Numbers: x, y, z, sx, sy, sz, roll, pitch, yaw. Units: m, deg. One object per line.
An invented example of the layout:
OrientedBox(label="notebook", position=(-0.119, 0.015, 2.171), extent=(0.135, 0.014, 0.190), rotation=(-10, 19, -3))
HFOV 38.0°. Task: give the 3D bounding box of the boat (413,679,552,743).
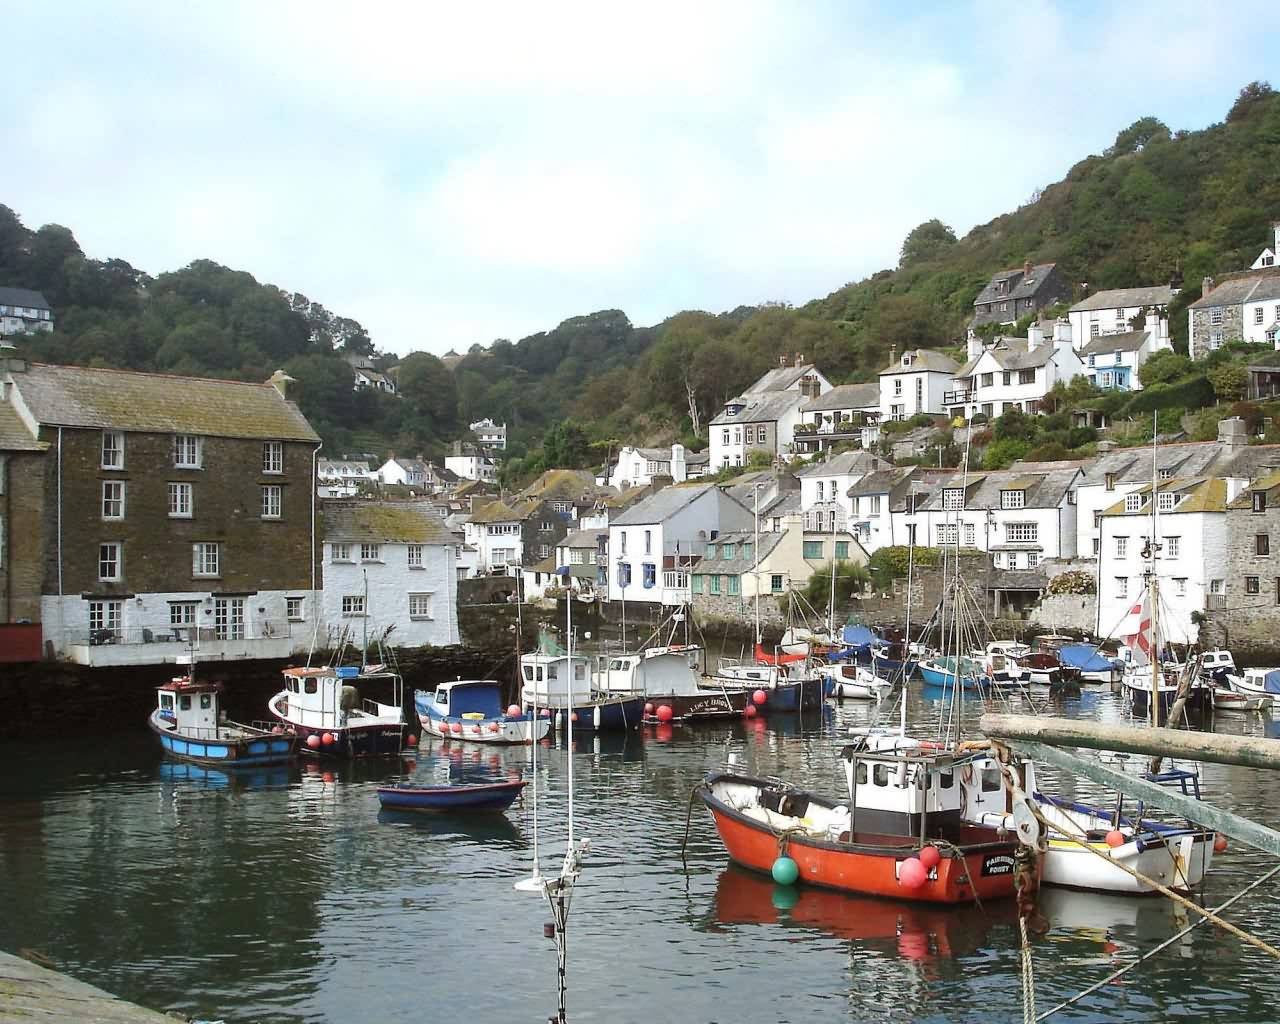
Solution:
OrientedBox(label="boat", position=(-5.577, 6.575, 61.766), extent=(2.627, 1.860, 6.381), rotation=(-2, 2, -38))

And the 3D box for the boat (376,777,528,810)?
OrientedBox(label="boat", position=(-5.111, 7.717, 50.585), extent=(4.065, 0.739, 1.353), rotation=(-2, -6, 11))

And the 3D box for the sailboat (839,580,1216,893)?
OrientedBox(label="sailboat", position=(10.349, 7.849, 45.708), extent=(7.246, 5.257, 6.676), rotation=(-2, -8, -44))

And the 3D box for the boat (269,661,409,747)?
OrientedBox(label="boat", position=(-9.874, 6.446, 61.732), extent=(4.455, 2.736, 8.640), rotation=(-1, -4, -8))

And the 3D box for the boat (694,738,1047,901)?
OrientedBox(label="boat", position=(5.188, 7.587, 45.391), extent=(6.859, 2.354, 4.085), rotation=(1, -1, 40))
